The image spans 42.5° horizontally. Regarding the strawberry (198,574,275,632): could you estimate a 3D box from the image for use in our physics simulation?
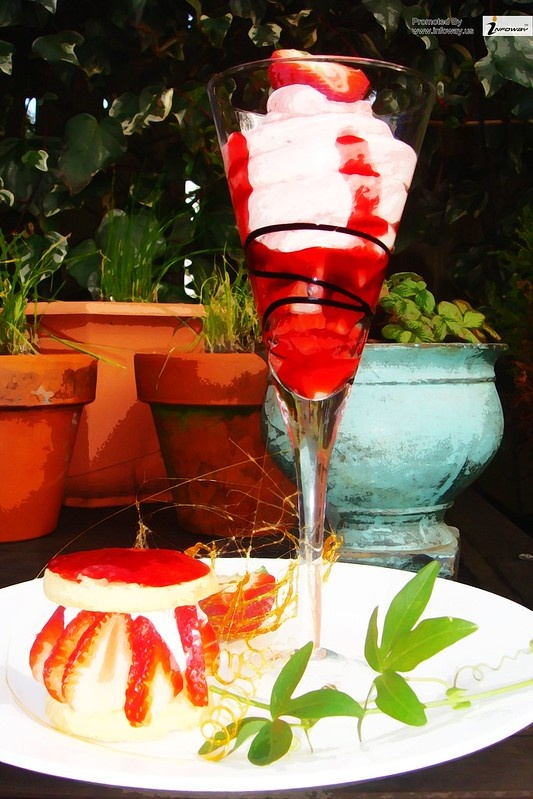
[{"bbox_3d":[-0.019,0.128,0.440,0.039,0.017,0.039,-6,5,18],"label":"strawberry"}]

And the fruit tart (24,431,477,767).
[{"bbox_3d":[-0.020,0.091,0.314,0.140,0.049,0.115,3,4,-23],"label":"fruit tart"}]

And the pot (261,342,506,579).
[{"bbox_3d":[0.115,0.052,0.678,0.225,0.205,0.204,0,-2,2],"label":"pot"}]

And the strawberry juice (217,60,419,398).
[{"bbox_3d":[0.024,-0.105,0.416,0.134,0.184,0.125,4,28,11],"label":"strawberry juice"}]

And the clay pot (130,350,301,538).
[{"bbox_3d":[-0.056,0.042,0.804,0.207,0.198,0.201,-1,0,0],"label":"clay pot"}]

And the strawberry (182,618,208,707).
[{"bbox_3d":[-0.036,0.129,0.331,0.010,0.008,0.039,-23,28,1],"label":"strawberry"}]
